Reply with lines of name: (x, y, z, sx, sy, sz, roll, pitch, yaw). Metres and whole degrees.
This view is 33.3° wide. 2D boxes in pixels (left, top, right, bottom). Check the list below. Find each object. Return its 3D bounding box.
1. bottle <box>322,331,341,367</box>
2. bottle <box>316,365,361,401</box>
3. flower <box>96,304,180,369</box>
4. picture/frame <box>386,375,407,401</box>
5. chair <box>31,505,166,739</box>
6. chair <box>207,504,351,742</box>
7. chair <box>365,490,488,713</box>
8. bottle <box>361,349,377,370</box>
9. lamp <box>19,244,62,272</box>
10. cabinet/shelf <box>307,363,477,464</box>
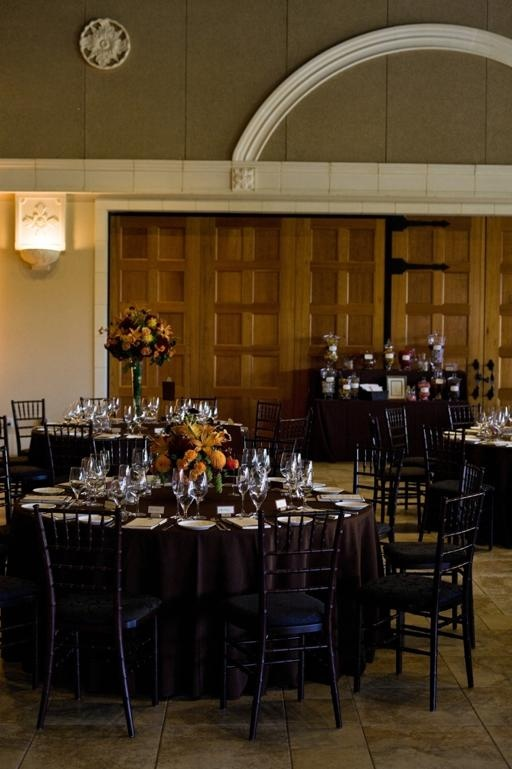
bottle: (0.866, -0.395, 10.073, 0.205, 0.388, 0.471, 4, 9, 5)
bottle: (0.946, -0.032, 9.810, 0.458, 0.437, 0.287, 0, 4, 3)
flower: (-0.837, -0.369, 6.516, 0.549, 0.462, 0.508, 8, 18, 38)
picture/frame: (1.605, 0.046, 9.881, 0.258, 0.335, 0.025, 0, -3, -5)
chair: (-0.597, 0.813, 3.249, 0.497, 0.886, 0.626, 3, 9, -3)
chair: (0.161, 0.892, 3.269, 0.326, 0.671, 0.401, -1, -35, 11)
chair: (0.678, 0.845, 3.512, 0.454, 0.781, 0.442, -3, -7, 34)
bottle: (1.312, -0.307, 10.203, 0.185, 0.264, 0.190, 1, -3, 0)
lamp: (-2.399, -1.417, 9.615, 0.296, 0.163, 0.307, 2, 4, 7)
cabinet/shelf: (1.496, 0.556, 9.621, 1.845, 0.768, 0.688, 0, -8, 9)
